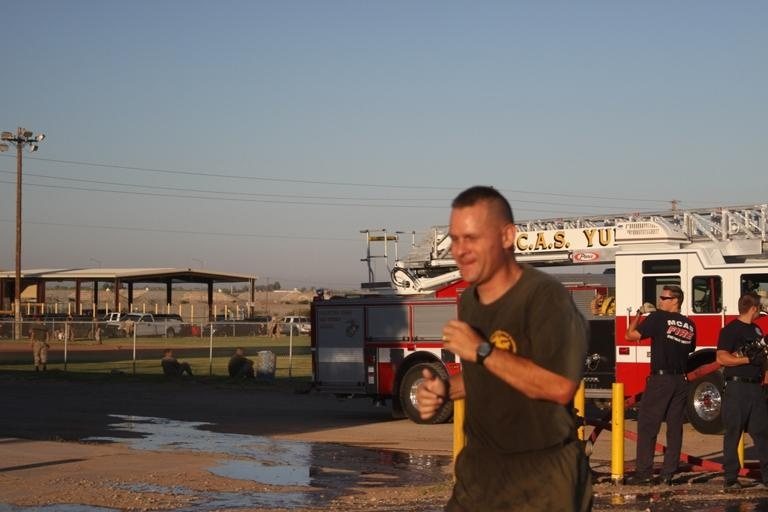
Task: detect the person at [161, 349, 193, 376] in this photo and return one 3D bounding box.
[{"bbox_3d":[-5.979,3.125,33.623,0.726,0.757,0.941,-3,-4,19],"label":"person"}]

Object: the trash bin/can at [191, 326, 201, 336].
[{"bbox_3d":[-10.949,4.397,67.621,0.524,0.624,2.120,-1,-4,-10],"label":"trash bin/can"}]

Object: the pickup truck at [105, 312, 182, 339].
[{"bbox_3d":[-13.160,3.869,63.205,4.351,1.137,2.129,6,-6,-42],"label":"pickup truck"}]

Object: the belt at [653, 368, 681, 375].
[{"bbox_3d":[4.393,1.812,18.064,0.397,0.085,0.064,-2,-4,12],"label":"belt"}]

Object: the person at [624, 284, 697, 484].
[{"bbox_3d":[4.379,2.188,18.121,0.972,2.655,0.518,-3,-5,13],"label":"person"}]

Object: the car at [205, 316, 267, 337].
[{"bbox_3d":[-8.604,4.253,67.923,3.595,0.956,4.964,0,-4,-11],"label":"car"}]

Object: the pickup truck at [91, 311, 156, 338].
[{"bbox_3d":[-13.882,3.756,62.064,1.893,1.255,3.256,-6,-10,37],"label":"pickup truck"}]

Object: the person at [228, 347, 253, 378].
[{"bbox_3d":[-4.057,3.081,33.012,0.688,0.830,1.047,-1,-4,-6],"label":"person"}]
